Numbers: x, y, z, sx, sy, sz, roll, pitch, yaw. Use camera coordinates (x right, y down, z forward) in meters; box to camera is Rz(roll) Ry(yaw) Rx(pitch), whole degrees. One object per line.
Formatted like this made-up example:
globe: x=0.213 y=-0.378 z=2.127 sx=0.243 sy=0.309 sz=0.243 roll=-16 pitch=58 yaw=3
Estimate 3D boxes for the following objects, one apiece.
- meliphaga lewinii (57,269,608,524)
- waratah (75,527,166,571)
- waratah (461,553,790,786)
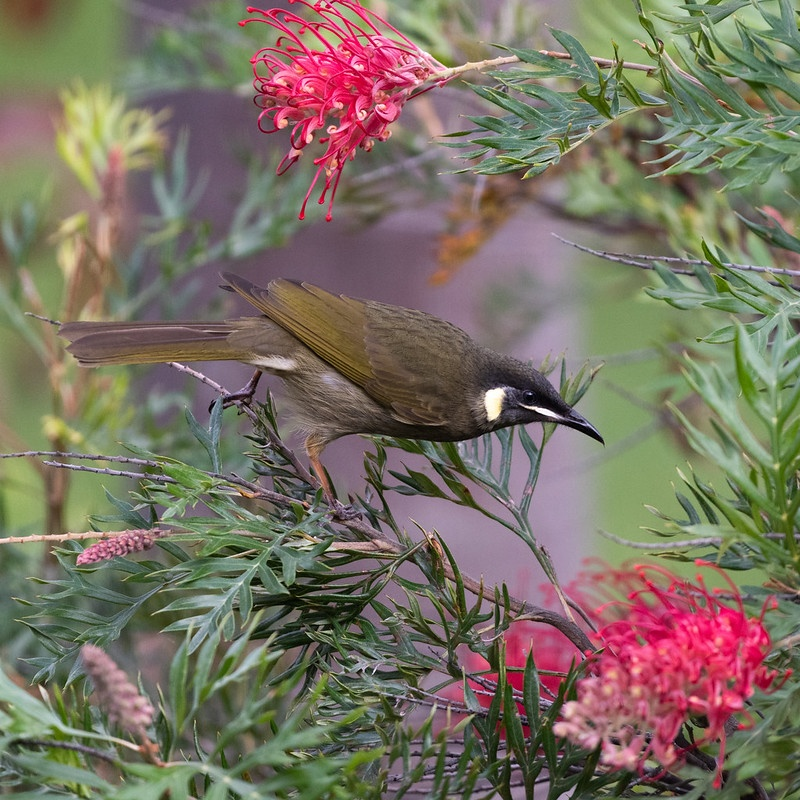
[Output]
meliphaga lewinii: x=0.010 y=-0.026 z=3.201 sx=1.913 sy=0.681 sz=0.951 roll=3 pitch=-13 yaw=15
waratah: x=-0.466 y=0.236 z=1.720 sx=0.137 sy=0.067 sz=0.117 roll=-11 pitch=15 yaw=-42
waratah: x=0.369 y=0.429 z=1.696 sx=0.252 sy=0.366 sz=0.512 roll=24 pitch=-21 yaw=-30
